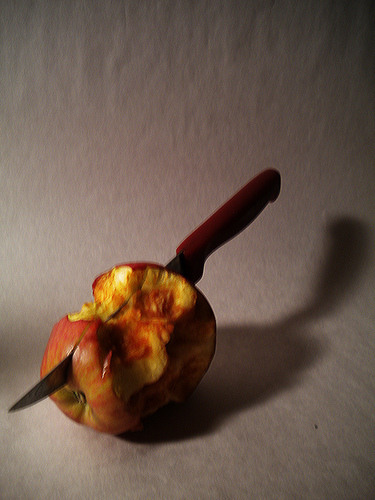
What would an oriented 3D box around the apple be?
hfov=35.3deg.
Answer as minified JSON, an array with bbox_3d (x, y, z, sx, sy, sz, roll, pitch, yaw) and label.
[{"bbox_3d":[-0.071,0.128,0.709,0.204,0.159,0.128,-39,-16,-26],"label":"apple"}]
